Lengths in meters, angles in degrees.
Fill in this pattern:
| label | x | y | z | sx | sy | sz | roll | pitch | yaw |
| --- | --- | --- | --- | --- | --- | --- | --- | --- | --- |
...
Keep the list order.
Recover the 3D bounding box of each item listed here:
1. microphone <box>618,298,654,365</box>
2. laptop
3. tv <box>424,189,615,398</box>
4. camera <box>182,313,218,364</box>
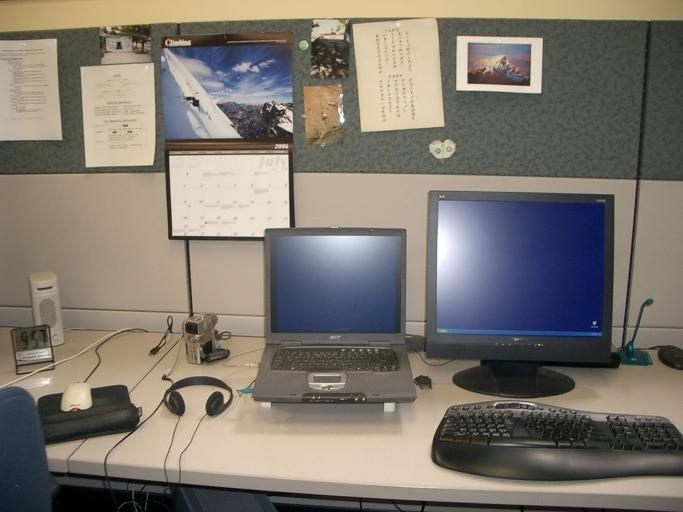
| label | x | y | z | sx | sy | sz | roll | pitch | yaw |
| --- | --- | --- | --- | --- | --- | --- | --- | --- | --- |
| microphone | 0.979 | 0.245 | 1.882 | 0.113 | 0.246 | 0.128 | -1 | 21 | 9 |
| laptop | -0.017 | 0.163 | 1.630 | 0.483 | 0.381 | 0.431 | -1 | 16 | -6 |
| tv | 0.530 | 0.101 | 1.687 | 0.600 | 0.648 | 0.257 | 1 | 2 | 5 |
| camera | -0.461 | 0.264 | 1.848 | 0.087 | 0.136 | 0.117 | 4 | 10 | 29 |
